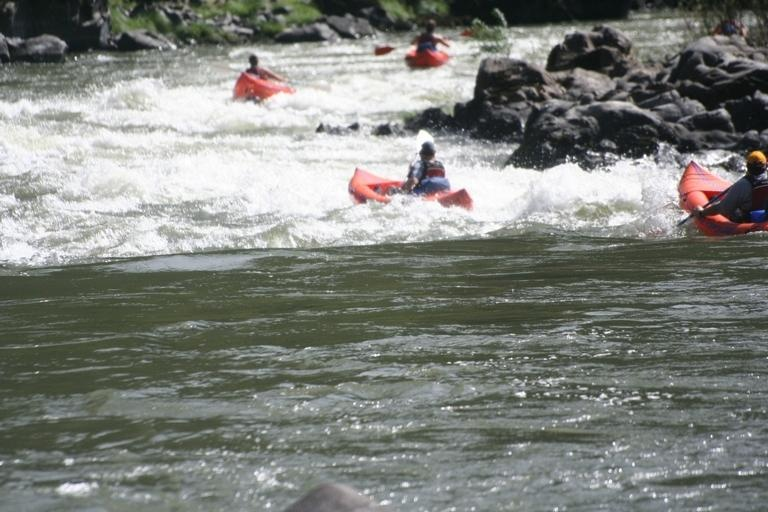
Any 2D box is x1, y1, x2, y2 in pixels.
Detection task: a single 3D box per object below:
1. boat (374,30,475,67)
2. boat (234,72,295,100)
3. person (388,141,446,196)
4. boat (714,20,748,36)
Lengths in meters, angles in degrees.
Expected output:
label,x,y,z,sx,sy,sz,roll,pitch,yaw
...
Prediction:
label,x,y,z,sx,sy,sz,roll,pitch,yaw
boat,1.421,-6.728,37.571,3.449,1.342,4.895,1,9,5
boat,-3.174,-4.540,31.033,1.372,0.511,0.895,1,6,-15
person,0.833,-1.714,23.178,0.880,0.932,0.850,-5,37,-13
boat,8.757,-5.744,29.199,0.573,0.218,0.642,5,8,14
